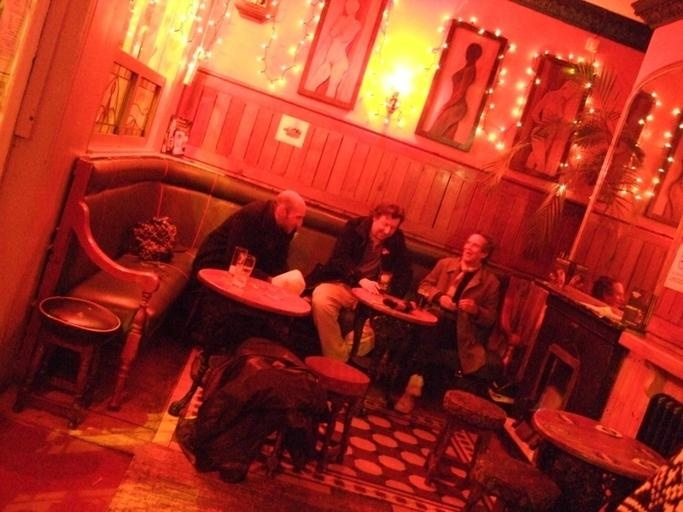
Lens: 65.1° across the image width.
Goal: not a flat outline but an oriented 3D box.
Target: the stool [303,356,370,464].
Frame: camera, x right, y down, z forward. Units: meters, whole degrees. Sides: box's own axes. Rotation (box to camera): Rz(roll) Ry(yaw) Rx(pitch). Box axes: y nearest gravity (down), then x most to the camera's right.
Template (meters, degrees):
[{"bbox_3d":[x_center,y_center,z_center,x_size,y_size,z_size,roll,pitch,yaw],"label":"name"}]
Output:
[{"bbox_3d":[-0.075,1.019,3.496,0.440,0.432,0.463,14,10,-12],"label":"stool"}]

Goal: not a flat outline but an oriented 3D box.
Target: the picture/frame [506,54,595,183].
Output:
[{"bbox_3d":[2.186,-1.459,5.555,0.503,1.023,0.968,16,12,6],"label":"picture/frame"}]

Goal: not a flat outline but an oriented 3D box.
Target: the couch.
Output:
[{"bbox_3d":[-0.573,0.244,4.127,1.851,0.935,1.063,19,16,-49],"label":"couch"}]

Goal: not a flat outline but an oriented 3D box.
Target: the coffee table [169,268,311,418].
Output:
[{"bbox_3d":[-0.700,0.618,3.630,0.711,0.909,0.530,13,9,-14],"label":"coffee table"}]

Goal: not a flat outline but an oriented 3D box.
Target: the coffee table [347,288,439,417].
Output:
[{"bbox_3d":[0.402,0.808,4.448,0.640,0.750,0.654,18,16,-31],"label":"coffee table"}]

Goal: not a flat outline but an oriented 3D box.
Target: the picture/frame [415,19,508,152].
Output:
[{"bbox_3d":[1.227,-1.761,5.522,0.636,0.970,0.206,17,9,7],"label":"picture/frame"}]
